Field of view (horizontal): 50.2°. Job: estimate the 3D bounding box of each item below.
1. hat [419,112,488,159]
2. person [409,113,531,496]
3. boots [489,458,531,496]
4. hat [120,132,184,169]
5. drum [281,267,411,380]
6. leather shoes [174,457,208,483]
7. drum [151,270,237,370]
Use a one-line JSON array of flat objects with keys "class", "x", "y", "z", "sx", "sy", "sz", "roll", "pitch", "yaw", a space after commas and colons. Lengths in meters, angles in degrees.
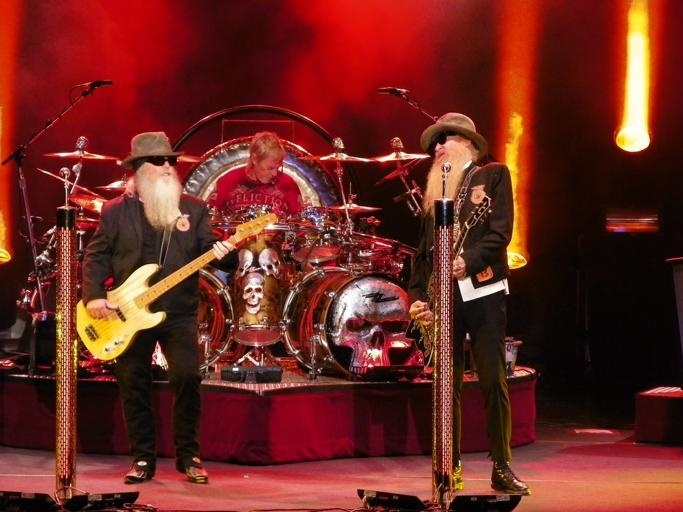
[{"class": "hat", "x": 0.681, "y": -0.767, "z": 4.304, "sx": 0.346, "sy": 0.131, "sz": 0.289, "roll": 13, "pitch": -25, "yaw": 1}, {"class": "person", "x": 0.716, "y": 0.241, "z": 4.154, "sx": 0.679, "sy": 2.219, "sz": 0.736, "roll": 0, "pitch": 0, "yaw": -22}, {"class": "boots", "x": 0.927, "y": 1.220, "z": 3.986, "sx": 0.203, "sy": 0.153, "sz": 0.274, "roll": 0, "pitch": 0, "yaw": 8}, {"class": "hat", "x": -1.251, "y": -0.705, "z": 4.627, "sx": 0.248, "sy": 0.115, "sz": 0.280, "roll": -4, "pitch": -5, "yaw": -28}, {"class": "drum", "x": 0.067, "y": 0.461, "z": 5.414, "sx": 0.751, "sy": 0.714, "sz": 0.877, "roll": -5, "pitch": 1, "yaw": -29}, {"class": "leather shoes", "x": -0.906, "y": 1.277, "z": 4.359, "sx": 0.092, "sy": 0.101, "sz": 0.265, "roll": 6, "pitch": -12, "yaw": -30}, {"class": "drum", "x": -1.245, "y": 0.568, "z": 5.828, "sx": 0.751, "sy": 0.717, "sz": 0.704, "roll": -12, "pitch": -12, "yaw": -20}]
